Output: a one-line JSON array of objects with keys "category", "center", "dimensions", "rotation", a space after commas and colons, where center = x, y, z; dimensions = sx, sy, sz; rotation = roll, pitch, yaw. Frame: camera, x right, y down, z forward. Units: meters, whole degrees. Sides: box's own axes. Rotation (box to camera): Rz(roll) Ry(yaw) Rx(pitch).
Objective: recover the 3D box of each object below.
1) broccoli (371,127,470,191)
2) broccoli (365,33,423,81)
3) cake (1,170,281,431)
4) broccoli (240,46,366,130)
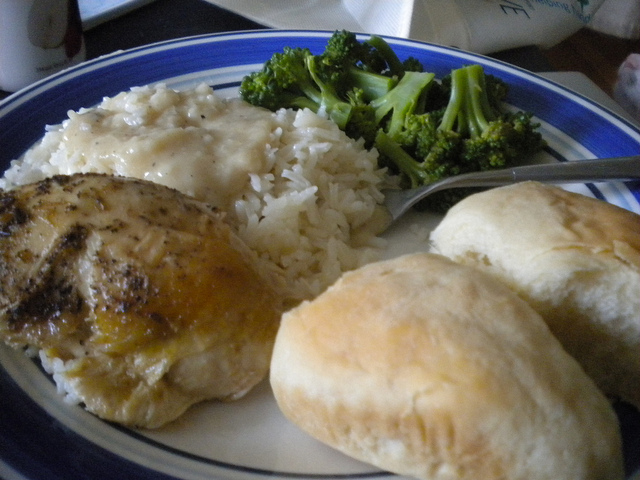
[{"category": "broccoli", "center": [0.404, -0.346, 2.628], "dimensions": [0.420, 0.211, 0.142], "rotation": [24, 18, 34]}, {"category": "broccoli", "center": [0.360, -0.841, 2.890], "dimensions": [0.284, 0.176, 0.139], "rotation": [47, 26, -9]}, {"category": "cake", "center": [-0.542, 0.184, 1.878], "dimensions": [0.834, 0.330, 0.733], "rotation": [1, 65, -4]}, {"category": "broccoli", "center": [-0.070, -0.679, 2.681], "dimensions": [0.528, 0.149, 0.312], "rotation": [13, 64, 2]}]
